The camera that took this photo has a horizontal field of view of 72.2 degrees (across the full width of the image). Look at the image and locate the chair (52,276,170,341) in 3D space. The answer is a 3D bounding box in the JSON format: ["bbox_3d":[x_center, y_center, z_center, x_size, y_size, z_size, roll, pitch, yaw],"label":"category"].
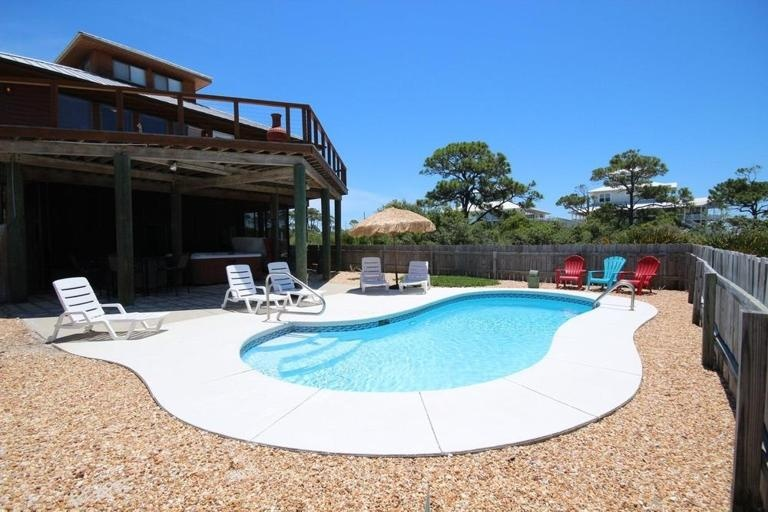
[{"bbox_3d":[-6.798,1.353,13.263,2.511,1.532,1.314,-1,1,8],"label":"chair"}]
